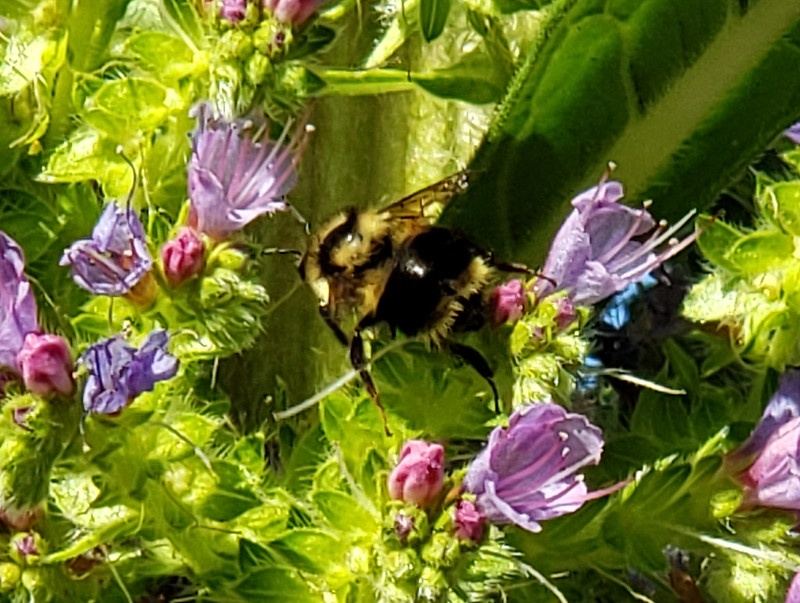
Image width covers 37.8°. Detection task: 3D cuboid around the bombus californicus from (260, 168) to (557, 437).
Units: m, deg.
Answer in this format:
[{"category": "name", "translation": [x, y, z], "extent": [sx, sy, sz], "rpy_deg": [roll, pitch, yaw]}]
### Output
[{"category": "bombus californicus", "translation": [0.006, -0.021, 1.452], "extent": [0.308, 0.115, 0.240], "rpy_deg": [20, 48, 43]}]

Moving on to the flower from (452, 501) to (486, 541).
[{"category": "flower", "translation": [0.079, 0.248, 1.323], "extent": [0.038, 0.027, 0.038], "rpy_deg": [7, 45, -6]}]

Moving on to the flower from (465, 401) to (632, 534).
[{"category": "flower", "translation": [0.141, 0.195, 1.318], "extent": [0.198, 0.094, 0.174], "rpy_deg": [-7, 17, -12]}]

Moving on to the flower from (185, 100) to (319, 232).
[{"category": "flower", "translation": [-0.196, -0.154, 1.384], "extent": [0.142, 0.160, 0.118], "rpy_deg": [24, 13, 11]}]

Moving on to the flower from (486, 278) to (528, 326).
[{"category": "flower", "translation": [0.129, 0.000, 1.416], "extent": [0.032, 0.051, 0.041], "rpy_deg": [10, 50, -41]}]

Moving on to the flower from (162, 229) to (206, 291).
[{"category": "flower", "translation": [-0.250, -0.050, 1.348], "extent": [0.043, 0.042, 0.056], "rpy_deg": [37, 50, 24]}]

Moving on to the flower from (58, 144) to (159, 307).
[{"category": "flower", "translation": [-0.319, -0.086, 1.347], "extent": [0.098, 0.111, 0.199], "rpy_deg": [8, 46, -4]}]

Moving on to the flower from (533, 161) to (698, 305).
[{"category": "flower", "translation": [0.262, -0.070, 1.446], "extent": [0.133, 0.084, 0.212], "rpy_deg": [41, 72, 9]}]
